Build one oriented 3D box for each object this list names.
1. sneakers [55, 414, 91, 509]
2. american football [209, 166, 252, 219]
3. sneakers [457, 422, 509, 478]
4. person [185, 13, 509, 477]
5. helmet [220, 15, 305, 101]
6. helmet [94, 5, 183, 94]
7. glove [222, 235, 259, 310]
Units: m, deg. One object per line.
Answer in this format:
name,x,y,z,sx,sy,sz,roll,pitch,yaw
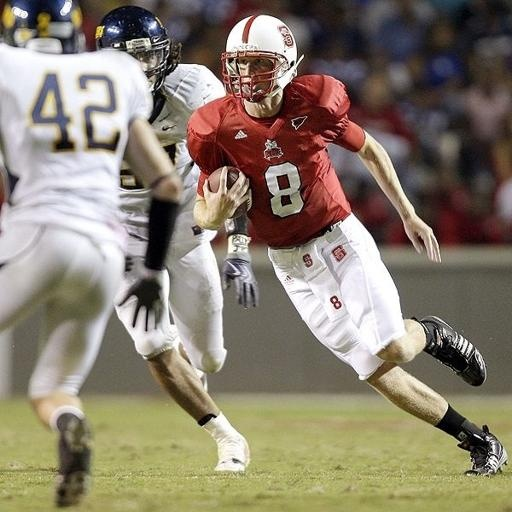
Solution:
sneakers,-0.476,0.537,1.884,0.100,0.217,0.117,-1,-9,9
american football,-0.098,-0.244,2.709,0.141,0.158,0.127,-37,33,0
sneakers,0.869,0.750,2.822,0.170,0.083,0.277,21,9,-1
person,0.362,-0.110,2.831,1.377,1.533,0.539,14,17,11
helmet,0.059,-0.754,2.739,0.353,0.280,0.401,3,20,25
helmet,-0.457,-0.852,3.047,0.389,0.308,0.370,-16,50,-2
glove,-0.108,0.066,2.880,0.183,0.277,0.098,1,-29,-26
